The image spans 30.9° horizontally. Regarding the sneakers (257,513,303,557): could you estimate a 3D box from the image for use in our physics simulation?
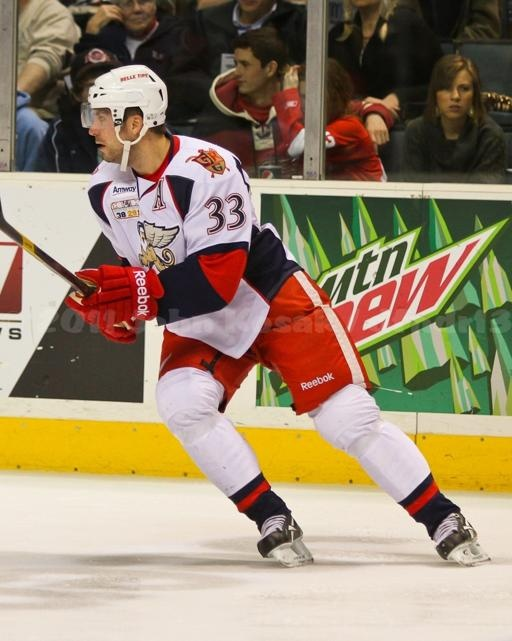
[{"bbox_3d":[0.063,0.613,2.536,0.119,0.168,0.087,-4,28,1],"label":"sneakers"}]

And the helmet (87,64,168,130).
[{"bbox_3d":[-0.388,-0.629,2.581,0.263,0.150,0.196,-12,29,-34],"label":"helmet"}]

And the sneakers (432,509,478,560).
[{"bbox_3d":[0.557,0.607,2.535,0.123,0.141,0.100,-16,30,-22],"label":"sneakers"}]

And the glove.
[{"bbox_3d":[-0.372,-0.041,2.466,0.255,0.220,0.119,-6,28,-3],"label":"glove"}]

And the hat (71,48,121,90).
[{"bbox_3d":[-0.666,-1.034,3.835,0.225,0.083,0.282,-14,-13,-17],"label":"hat"}]

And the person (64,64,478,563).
[{"bbox_3d":[-0.041,-0.006,2.548,1.224,1.318,0.601,14,34,31],"label":"person"}]
